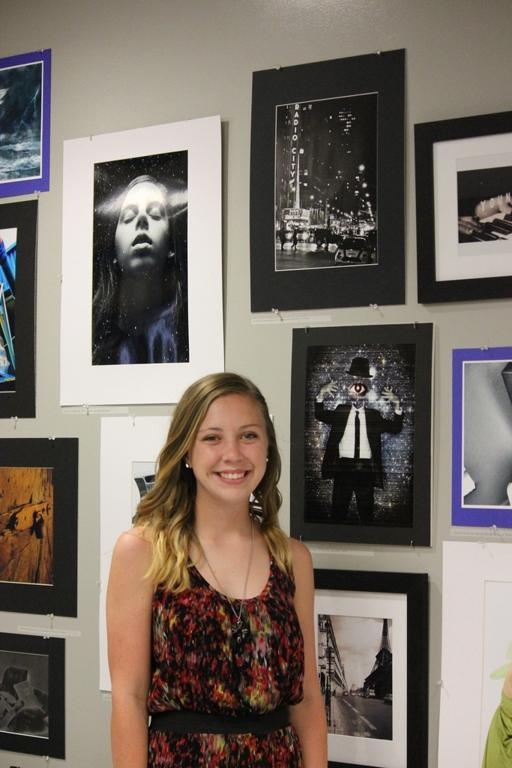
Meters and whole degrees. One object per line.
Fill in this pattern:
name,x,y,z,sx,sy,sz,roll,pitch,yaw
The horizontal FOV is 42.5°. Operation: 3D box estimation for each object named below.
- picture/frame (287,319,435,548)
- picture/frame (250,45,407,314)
picture/frame,0.263,0.131,1.555,0.367,0.774,0.090,-2,-10,14
picture/frame,0.193,-0.495,1.612,0.474,0.988,0.020,-2,-4,20
